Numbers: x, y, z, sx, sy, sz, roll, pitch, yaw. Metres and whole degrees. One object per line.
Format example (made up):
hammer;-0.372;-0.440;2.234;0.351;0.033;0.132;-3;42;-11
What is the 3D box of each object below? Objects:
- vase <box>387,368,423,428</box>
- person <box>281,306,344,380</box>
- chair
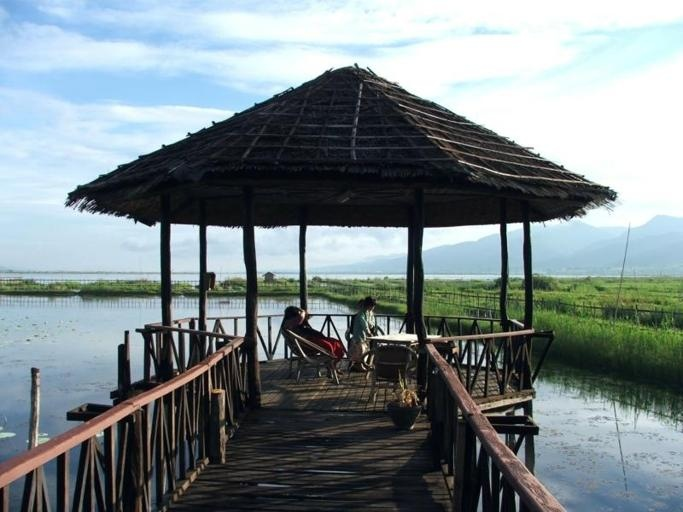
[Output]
vase;0.904;2.102;9.100;0.478;0.721;0.484;11;-14;-21
person;-0.534;1.594;11.523;1.178;1.259;1.224;-2;-1;39
chair;0.140;1.630;11.232;2.262;1.108;0.939;-3;-3;2
